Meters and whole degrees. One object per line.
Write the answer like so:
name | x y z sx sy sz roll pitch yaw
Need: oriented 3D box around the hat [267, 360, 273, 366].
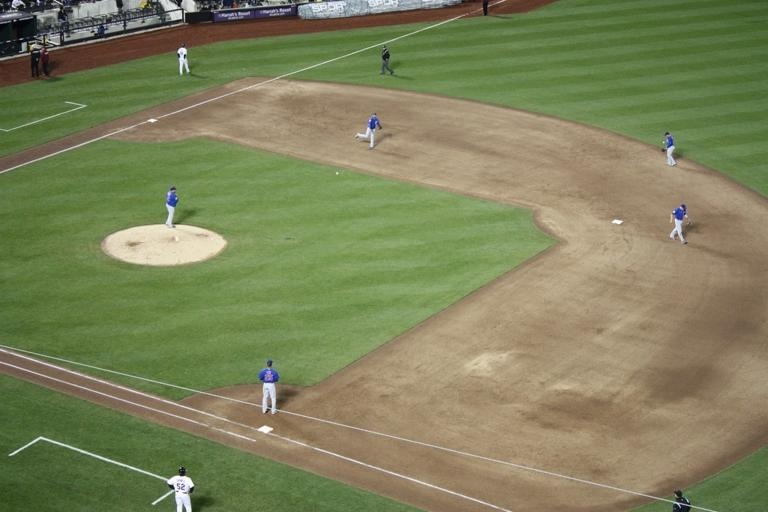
hat | -5.285 4.910 55.219 0.346 0.261 0.330 1 22 -8

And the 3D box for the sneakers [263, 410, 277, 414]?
sneakers | -5.248 7.230 55.671 0.785 0.197 0.181 2 25 6

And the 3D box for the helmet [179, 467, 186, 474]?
helmet | -8.632 9.150 51.262 0.394 0.265 0.322 4 20 2
